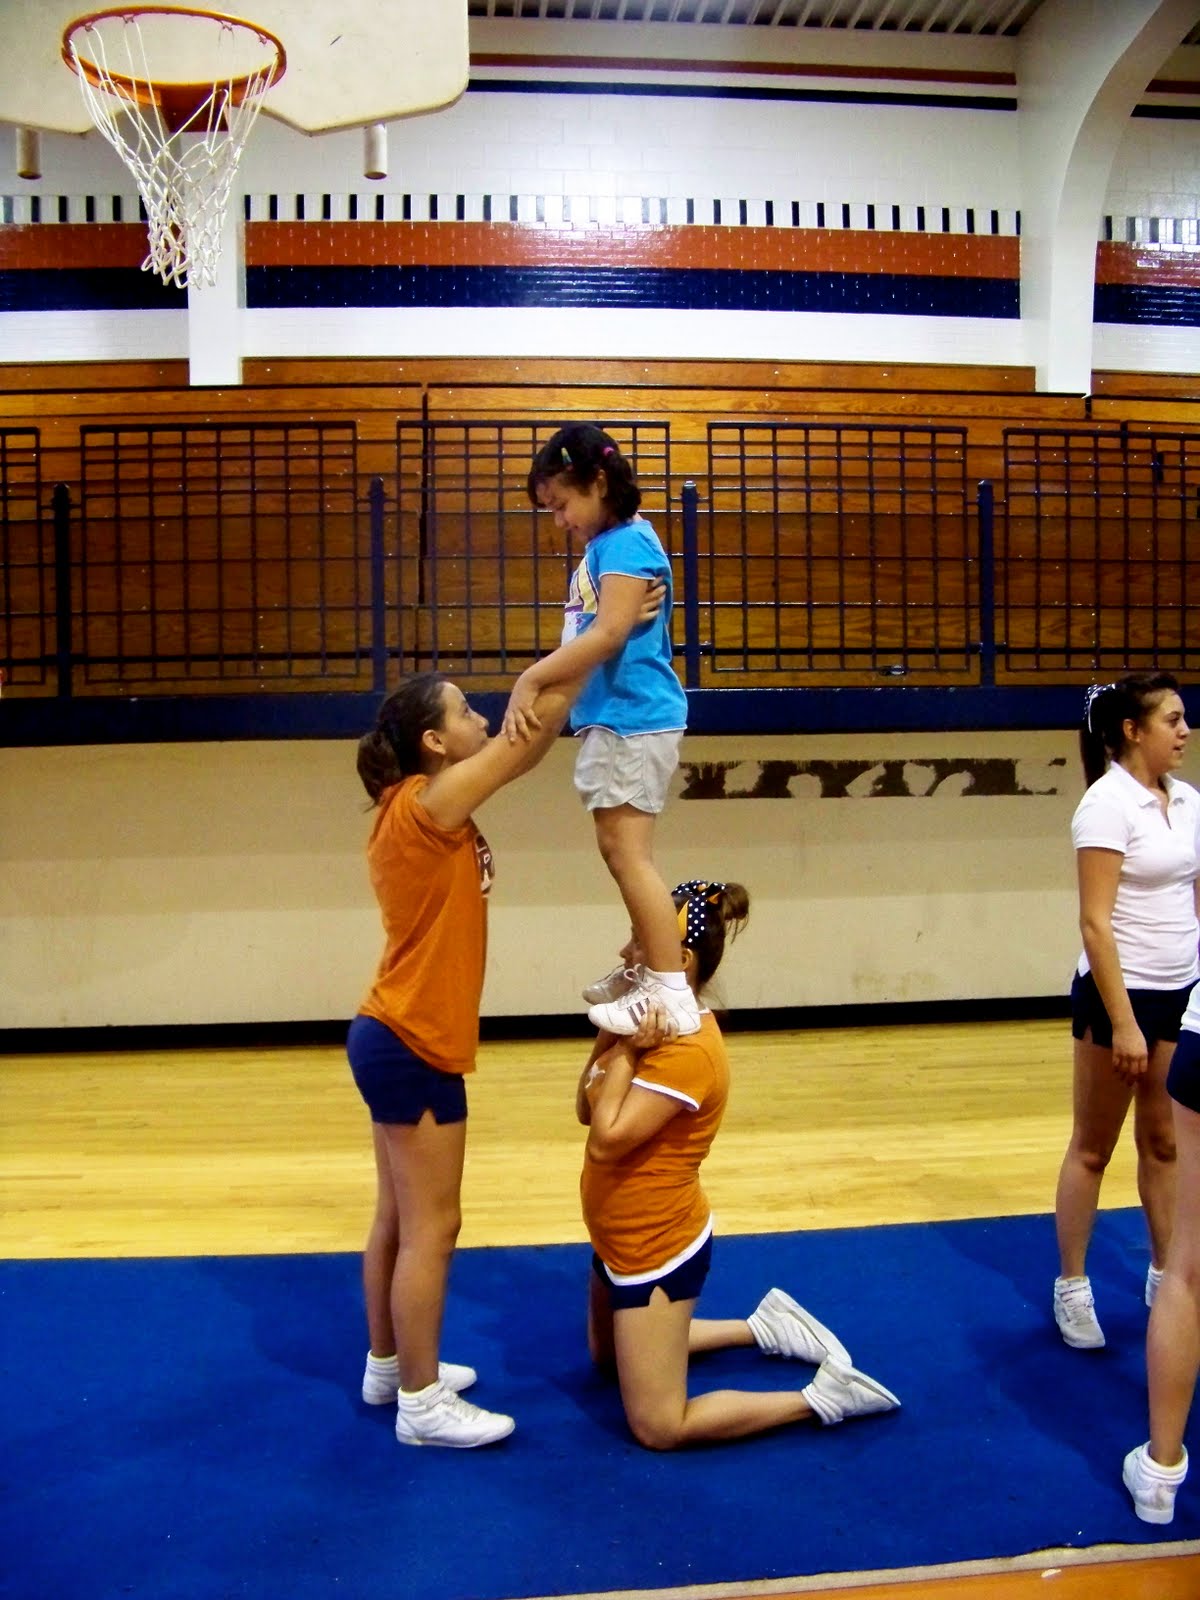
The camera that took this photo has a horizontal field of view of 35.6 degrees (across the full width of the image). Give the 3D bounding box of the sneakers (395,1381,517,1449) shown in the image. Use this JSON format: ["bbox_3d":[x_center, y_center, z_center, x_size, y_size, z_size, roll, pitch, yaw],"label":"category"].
[{"bbox_3d":[-0.294,1.216,3.712,0.262,0.131,0.101,0,2,-3],"label":"sneakers"}]

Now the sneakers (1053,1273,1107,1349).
[{"bbox_3d":[1.044,1.116,4.057,0.061,0.077,0.183,-5,5,0],"label":"sneakers"}]

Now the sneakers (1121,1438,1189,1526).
[{"bbox_3d":[1.027,1.263,3.464,0.101,0.119,0.132,0,7,12],"label":"sneakers"}]

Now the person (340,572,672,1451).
[{"bbox_3d":[-0.293,0.505,3.723,0.418,1.501,0.377,-2,7,-8],"label":"person"}]

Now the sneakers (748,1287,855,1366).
[{"bbox_3d":[0.420,1.133,3.952,0.212,0.118,0.102,48,26,11],"label":"sneakers"}]
